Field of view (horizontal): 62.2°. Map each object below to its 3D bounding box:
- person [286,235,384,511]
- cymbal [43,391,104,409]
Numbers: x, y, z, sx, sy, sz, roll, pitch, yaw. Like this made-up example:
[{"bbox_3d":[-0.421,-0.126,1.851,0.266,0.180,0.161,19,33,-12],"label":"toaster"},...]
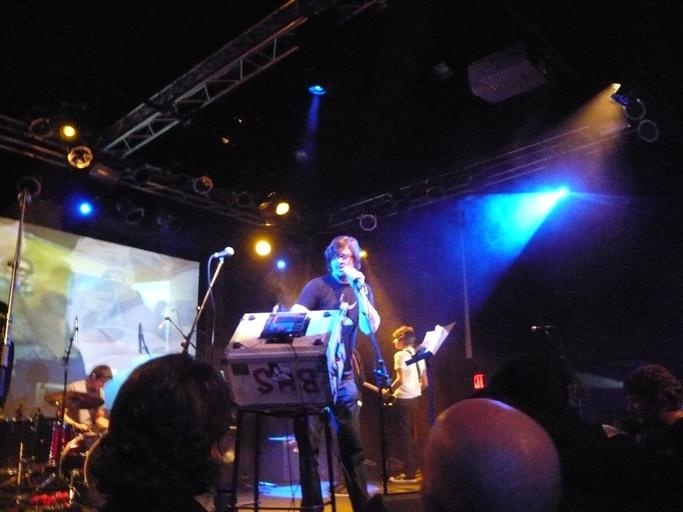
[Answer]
[{"bbox_3d":[-0.058,0.950,5.007,0.767,2.458,0.832,-3,-19,6],"label":"person"},{"bbox_3d":[-3.655,1.954,7.716,0.442,0.120,0.459,10,-7,-30],"label":"cymbal"}]
